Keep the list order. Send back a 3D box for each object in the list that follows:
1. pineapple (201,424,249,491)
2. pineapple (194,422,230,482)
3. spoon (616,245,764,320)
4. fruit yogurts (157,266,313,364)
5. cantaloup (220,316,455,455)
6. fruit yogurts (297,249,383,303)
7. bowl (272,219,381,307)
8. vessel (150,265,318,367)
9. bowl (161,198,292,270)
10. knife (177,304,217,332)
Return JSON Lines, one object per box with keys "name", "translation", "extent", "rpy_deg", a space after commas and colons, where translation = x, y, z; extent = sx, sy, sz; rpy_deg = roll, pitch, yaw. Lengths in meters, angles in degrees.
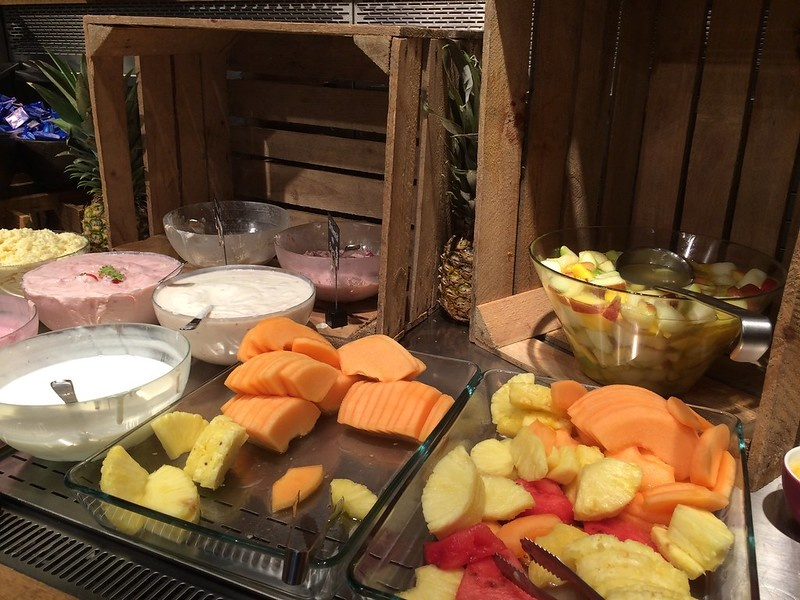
{"name": "pineapple", "translation": [-0.255, 0.224, 0.800], "extent": [0.031, 0.077, 0.084], "rpy_deg": [22, -17, -20]}
{"name": "pineapple", "translation": [-0.268, 0.217, 0.814], "extent": [0.048, 0.078, 0.028], "rpy_deg": [8, 6, 26]}
{"name": "spoon", "translation": [0.516, -0.005, 0.982], "extent": [0.277, 0.103, 0.037], "rpy_deg": [23, 60, -7]}
{"name": "fruit yogurts", "translation": [-0.346, 0.030, 1.201], "extent": [0.327, 0.129, 0.316], "rpy_deg": [-10, 26, -30]}
{"name": "cantaloup", "translation": [-0.117, 0.136, 0.935], "extent": [0.270, 0.079, 0.242], "rpy_deg": [-4, 32, -11]}
{"name": "fruit yogurts", "translation": [-0.207, -0.046, 1.397], "extent": [0.217, 0.092, 0.210], "rpy_deg": [6, 3, -31]}
{"name": "bowl", "translation": [-0.170, -0.078, 1.397], "extent": [0.258, 0.110, 0.238], "rpy_deg": [1, 19, 0]}
{"name": "vessel", "translation": [-0.336, 0.005, 1.139], "extent": [0.262, 0.099, 0.246], "rpy_deg": [-7, 23, -19]}
{"name": "bowl", "translation": [-0.478, -0.160, 1.521], "extent": [0.320, 0.114, 0.308], "rpy_deg": [4, 16, -1]}
{"name": "knife", "translation": [-0.384, 0.025, 1.061], "extent": [0.024, 0.009, 0.117], "rpy_deg": [14, 26, 8]}
